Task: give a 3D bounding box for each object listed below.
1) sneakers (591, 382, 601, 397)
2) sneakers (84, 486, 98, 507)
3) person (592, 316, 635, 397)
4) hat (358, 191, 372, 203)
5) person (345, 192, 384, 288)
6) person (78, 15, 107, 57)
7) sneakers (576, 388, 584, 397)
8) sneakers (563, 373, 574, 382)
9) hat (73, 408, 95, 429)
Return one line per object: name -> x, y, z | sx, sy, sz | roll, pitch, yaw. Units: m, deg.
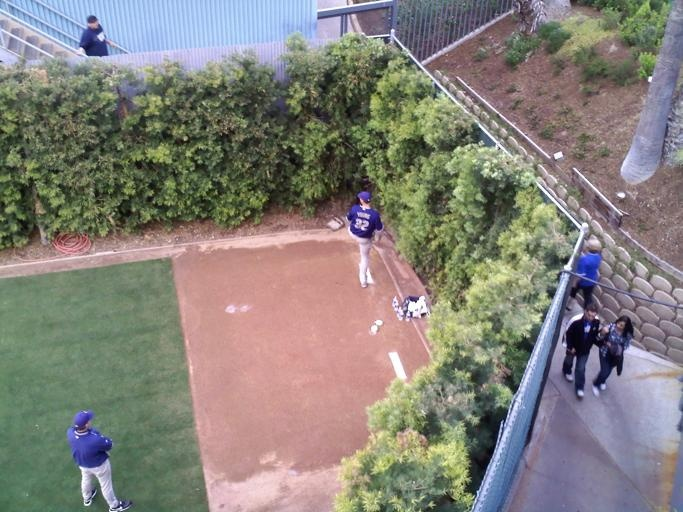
sneakers -> 5.170, 2.704, 10.434 | 0.090, 0.264, 0.107 | -12, -23, 12
sneakers -> -4.618, 4.426, 9.494 | 0.102, 0.139, 0.326 | 14, 62, -5
person -> 5.321, 1.935, 10.138 | 0.702, 1.740, 0.417 | 2, 22, 33
hat -> 0.554, -1.380, 12.167 | 0.280, 0.290, 0.403 | -11, 21, 6
person -> 0.586, -0.352, 12.507 | 0.654, 2.411, 0.900 | -20, 21, -25
person -> -6.361, -5.562, 13.139 | 0.644, 0.950, 0.652 | -17, 20, -14
sneakers -> 4.831, 2.752, 10.426 | 0.088, 0.077, 0.176 | -2, 9, 7
sneakers -> 4.733, 2.512, 10.662 | 0.090, 0.074, 0.193 | -37, 49, 3
hat -> -4.366, 2.740, 8.697 | 0.255, 0.280, 0.269 | -11, 21, 5
